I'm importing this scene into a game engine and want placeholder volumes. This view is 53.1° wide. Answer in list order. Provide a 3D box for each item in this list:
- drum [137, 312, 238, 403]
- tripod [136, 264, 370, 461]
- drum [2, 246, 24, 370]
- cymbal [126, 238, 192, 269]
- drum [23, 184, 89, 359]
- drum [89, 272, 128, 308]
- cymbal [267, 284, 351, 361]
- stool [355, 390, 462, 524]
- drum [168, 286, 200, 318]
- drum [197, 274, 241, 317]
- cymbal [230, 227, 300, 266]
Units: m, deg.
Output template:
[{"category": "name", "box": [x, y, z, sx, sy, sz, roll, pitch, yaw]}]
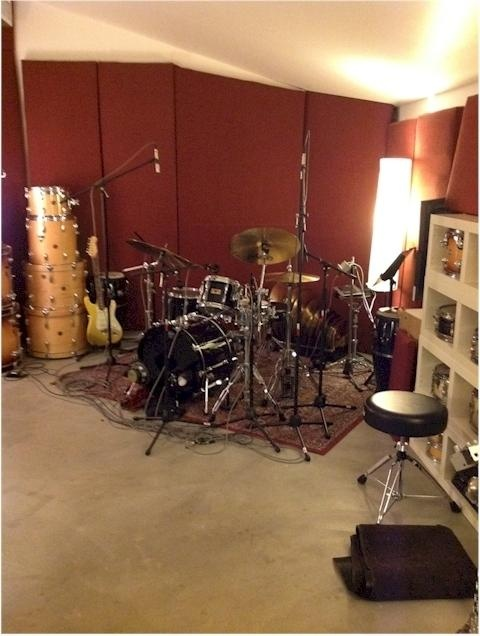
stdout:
[{"category": "drum", "box": [-0.412, 0.326, 3.626, 0.650, 0.646, 0.535, 4, 12, 29]}, {"category": "tripod", "box": [0.504, 0.228, 3.433, 1.293, 0.316, 1.245, 16, 29, 22]}, {"category": "drum", "box": [-2.031, -0.063, 4.211, 0.167, 1.111, 0.405, -5, 11, -25]}, {"category": "cymbal", "box": [-0.787, -0.600, 4.446, 0.436, 0.103, 0.433, 25, -4, -2]}, {"category": "drum", "box": [-1.762, -0.402, 4.557, 0.546, 1.620, 0.258, -5, 11, -25]}, {"category": "drum", "box": [-1.314, -0.296, 4.947, 0.362, 0.344, 0.352, -5, 10, -40]}, {"category": "cymbal", "box": [0.719, 0.091, 4.876, 0.739, 0.518, 0.999, -9, -9, 3]}, {"category": "stool", "box": [0.810, 0.646, 2.361, 0.443, 0.554, 0.462, -1, 12, -11]}, {"category": "drum", "box": [-0.425, -0.123, 3.741, 0.249, 0.244, 0.253, 8, 12, 30]}, {"category": "drum", "box": [-0.143, -0.147, 3.348, 0.314, 0.291, 0.229, 0, 10, -1]}, {"category": "cymbal", "box": [0.174, -0.494, 3.342, 0.324, 0.112, 0.337, -10, -33, 22]}]
